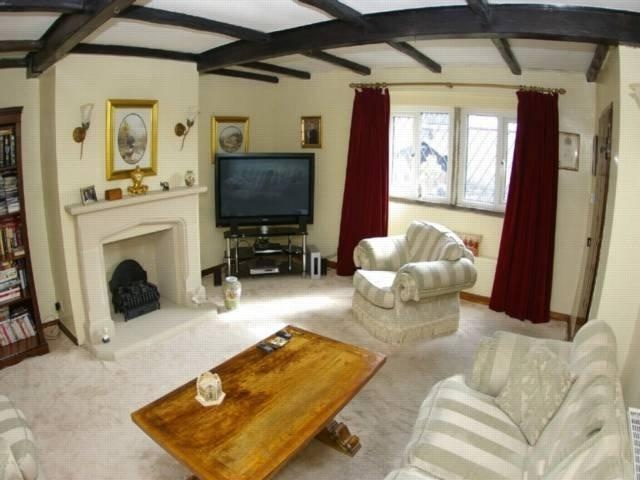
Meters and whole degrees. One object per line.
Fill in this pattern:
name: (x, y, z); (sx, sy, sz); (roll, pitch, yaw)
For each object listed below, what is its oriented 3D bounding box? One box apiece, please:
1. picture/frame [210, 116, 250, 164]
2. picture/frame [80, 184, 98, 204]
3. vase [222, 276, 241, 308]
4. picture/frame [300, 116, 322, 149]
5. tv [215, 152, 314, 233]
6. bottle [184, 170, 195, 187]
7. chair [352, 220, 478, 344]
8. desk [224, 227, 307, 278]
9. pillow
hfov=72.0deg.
picture/frame: (-1.286, -1.398, 6.151); (0.734, 0.723, 0.058); (-7, 13, -39)
picture/frame: (-2.299, -0.450, 4.362); (0.033, 0.180, 0.190); (1, 9, 33)
vase: (-1.063, 0.639, 5.310); (0.194, 0.409, 0.212); (-4, 11, -13)
picture/frame: (-0.121, -1.596, 6.488); (0.454, 0.588, 0.060); (5, 12, 29)
tv: (-0.794, -0.702, 6.121); (1.147, 0.818, 0.118); (-3, 8, -18)
bottle: (-1.547, -0.725, 5.216); (0.118, 0.200, 0.083); (-5, 11, -21)
chair: (1.028, 0.541, 5.204); (1.280, 1.353, 1.549); (-4, 10, -24)
desk: (-0.804, 0.171, 6.453); (1.170, 0.682, 0.667); (-2, 11, -10)
pillow: (1.292, 0.908, 2.654); (0.081, 0.468, 0.481); (26, 14, -29)
